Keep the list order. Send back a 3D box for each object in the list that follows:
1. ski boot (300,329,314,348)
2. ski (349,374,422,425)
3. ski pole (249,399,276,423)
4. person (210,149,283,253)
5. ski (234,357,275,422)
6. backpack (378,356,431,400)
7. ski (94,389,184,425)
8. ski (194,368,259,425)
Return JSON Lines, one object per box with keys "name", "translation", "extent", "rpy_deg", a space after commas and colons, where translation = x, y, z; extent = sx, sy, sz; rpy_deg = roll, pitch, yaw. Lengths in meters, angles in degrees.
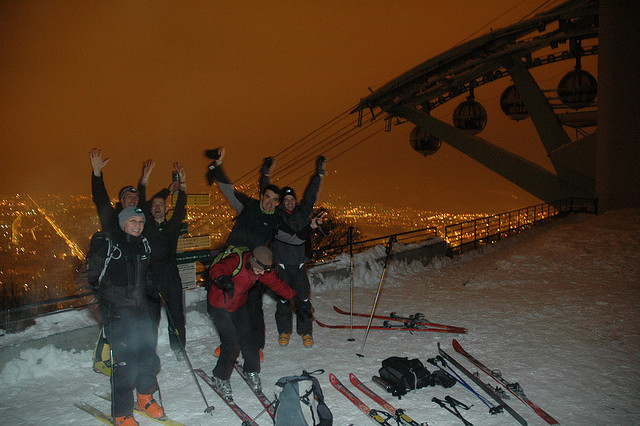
{"name": "ski boot", "translation": [-0.250, 2.702, 10.934], "extent": [0.286, 0.285, 0.272], "rpy_deg": [-4, 13, -13]}
{"name": "ski", "translation": [1.225, 3.388, 9.165], "extent": [0.143, 0.113, 1.353], "rpy_deg": [-16, 30, -28]}
{"name": "ski pole", "translation": [-1.018, 3.483, 8.936], "extent": [0.513, 0.061, 0.073], "rpy_deg": [-36, -3, -29]}
{"name": "person", "translation": [-1.530, -0.303, 10.546], "extent": [1.457, 1.931, 0.780], "rpy_deg": [2, 13, 11]}
{"name": "ski", "translation": [-1.225, 3.263, 9.313], "extent": [0.176, 0.140, 1.696], "rpy_deg": [-5, 32, -37]}
{"name": "backpack", "translation": [1.586, 3.001, 9.601], "extent": [0.761, 0.335, 0.606], "rpy_deg": [28, 38, 37]}
{"name": "ski", "translation": [-3.177, 3.374, 8.831], "extent": [1.392, 0.078, 0.160], "rpy_deg": [24, 13, 6]}
{"name": "ski", "translation": [-1.693, 3.341, 9.172], "extent": [0.168, 0.107, 1.477], "rpy_deg": [-4, 30, -47]}
